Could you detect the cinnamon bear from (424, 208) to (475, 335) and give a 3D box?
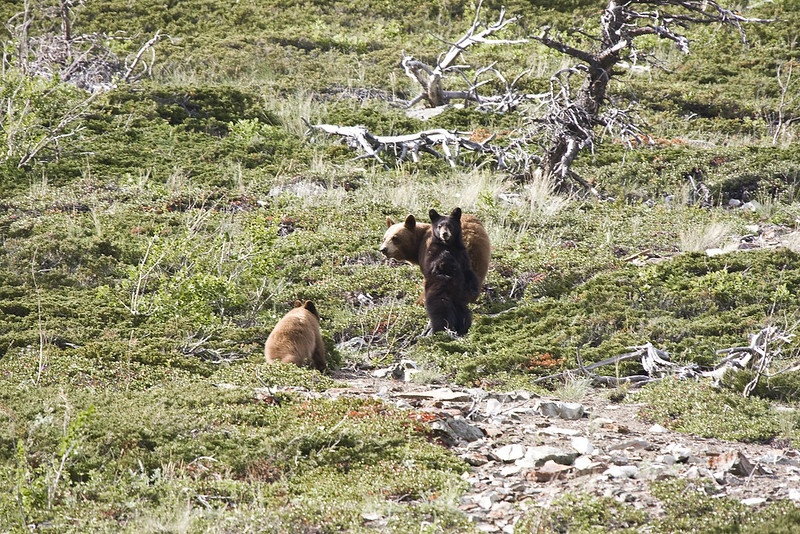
[{"bbox_3d":[1.059,0.105,27.492,1.060,2.624,0.982,-1,6,0],"label":"cinnamon bear"}]
